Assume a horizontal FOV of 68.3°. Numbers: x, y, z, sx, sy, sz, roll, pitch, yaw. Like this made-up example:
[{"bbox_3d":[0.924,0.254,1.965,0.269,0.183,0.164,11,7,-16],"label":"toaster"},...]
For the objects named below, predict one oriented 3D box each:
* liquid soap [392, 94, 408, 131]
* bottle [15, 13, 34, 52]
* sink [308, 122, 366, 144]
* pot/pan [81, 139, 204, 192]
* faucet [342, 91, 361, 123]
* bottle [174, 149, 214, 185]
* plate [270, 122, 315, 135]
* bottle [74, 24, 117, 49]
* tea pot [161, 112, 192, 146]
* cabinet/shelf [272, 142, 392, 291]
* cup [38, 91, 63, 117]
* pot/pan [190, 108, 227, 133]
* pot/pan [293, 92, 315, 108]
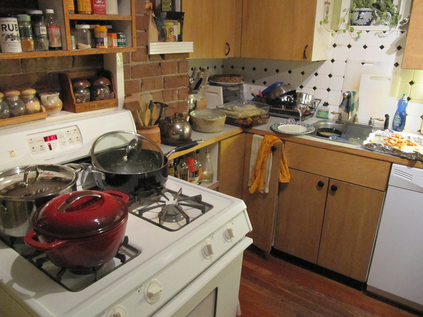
[{"bbox_3d":[1.612,-0.387,2.642,0.097,0.296,0.151,13,26,29],"label":"liquid soap"},{"bbox_3d":[-0.844,-0.571,1.418,0.053,0.156,0.110,-8,24,-18],"label":"bottle"},{"bbox_3d":[1.147,-0.230,2.744,0.324,0.077,0.292,19,39,25],"label":"sink"},{"bbox_3d":[-0.344,-0.001,1.553,0.415,0.160,0.228,-6,25,-37],"label":"pot/pan"},{"bbox_3d":[1.248,-0.463,2.794,0.135,0.272,0.180,10,25,24],"label":"faucet"},{"bbox_3d":[-0.140,0.070,2.324,0.082,0.268,0.198,21,33,37],"label":"bottle"},{"bbox_3d":[0.678,-0.248,2.604,0.348,0.046,0.285,-8,24,-18],"label":"plate"},{"bbox_3d":[-0.621,-0.653,1.668,0.228,0.133,0.110,-17,31,-38],"label":"bottle"},{"bbox_3d":[-0.232,-0.219,2.271,0.175,0.174,0.248,20,37,36],"label":"tea pot"},{"bbox_3d":[1.050,0.377,2.701,0.774,1.079,0.584,15,17,34],"label":"cabinet/shelf"},{"bbox_3d":[-0.810,-0.280,1.610,0.098,0.103,0.122,0,23,-7],"label":"cup"},{"bbox_3d":[-0.027,-0.305,2.567,0.262,0.142,0.272,-15,27,-32],"label":"pot/pan"},{"bbox_3d":[0.871,-0.542,2.891,0.146,0.107,0.134,7,16,21],"label":"pot/pan"}]
